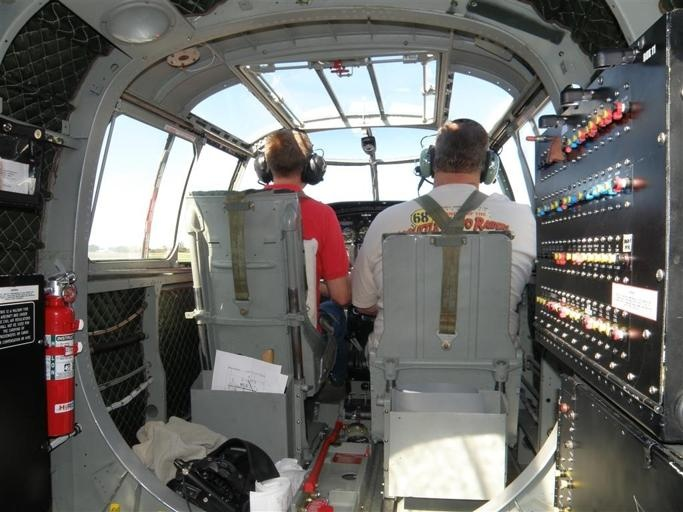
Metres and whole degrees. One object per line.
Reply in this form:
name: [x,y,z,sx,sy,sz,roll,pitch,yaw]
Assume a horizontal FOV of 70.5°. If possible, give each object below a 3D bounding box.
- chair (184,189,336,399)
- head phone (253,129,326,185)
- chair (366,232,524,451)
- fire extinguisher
chair: [-0.531,0.208,3.350,0.866,1.375,0.895,4,17,16]
head phone: [-0.324,-0.721,3.685,0.470,0.423,0.189,-13,-21,30]
chair: [0.564,0.343,2.808,0.909,1.450,0.955,1,12,7]
fire extinguisher: [-1.391,0.503,2.433,0.132,0.832,0.240,2,-3,-9]
